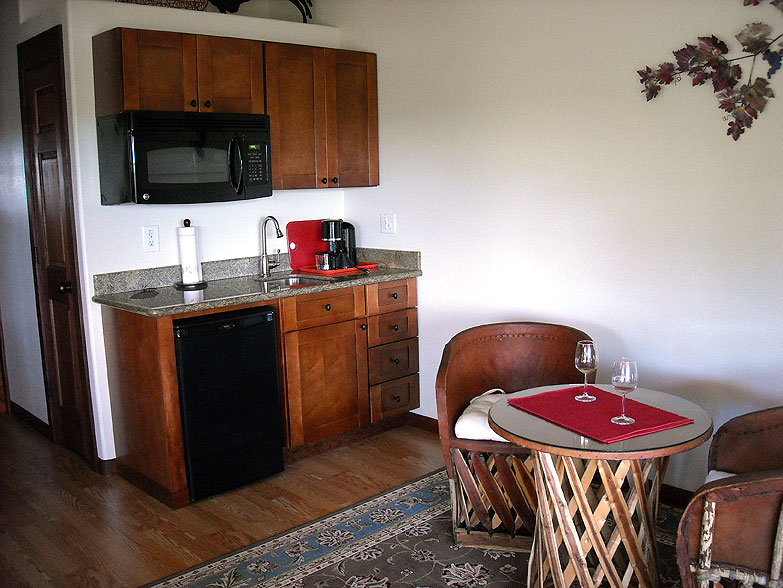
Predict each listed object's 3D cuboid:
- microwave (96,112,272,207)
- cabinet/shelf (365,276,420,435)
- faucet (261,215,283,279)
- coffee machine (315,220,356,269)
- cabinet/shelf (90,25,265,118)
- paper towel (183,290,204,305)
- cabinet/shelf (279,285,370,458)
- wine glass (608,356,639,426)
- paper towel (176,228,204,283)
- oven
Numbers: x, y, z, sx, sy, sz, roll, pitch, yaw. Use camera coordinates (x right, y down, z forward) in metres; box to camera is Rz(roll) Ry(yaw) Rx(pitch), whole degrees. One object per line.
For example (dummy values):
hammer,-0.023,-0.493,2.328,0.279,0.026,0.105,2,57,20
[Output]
microwave,-1.234,-0.691,3.467,0.560,0.533,0.917,10,15,43
cabinet/shelf,0.019,0.349,3.931,0.128,0.870,0.464,12,19,43
faucet,-0.780,-0.310,3.956,0.167,0.371,0.282,-3,13,-6
coffee machine,-0.360,-0.315,4.035,0.323,0.342,0.313,-3,5,-45
cabinet/shelf,-1.179,-1.225,3.447,0.354,0.424,0.903,20,24,37
paper towel,-1.071,0.017,3.303,0.100,0.069,0.099,8,13,35
cabinet/shelf,-0.281,0.489,3.914,0.705,0.919,0.728,-4,-21,-2
wine glass,0.899,0.341,2.348,0.086,0.243,0.337,4,14,21
paper towel,-1.180,-0.222,3.581,0.126,0.324,0.169,-6,14,-18
oven,-0.994,0.561,3.475,0.576,0.942,0.544,-8,13,-27
